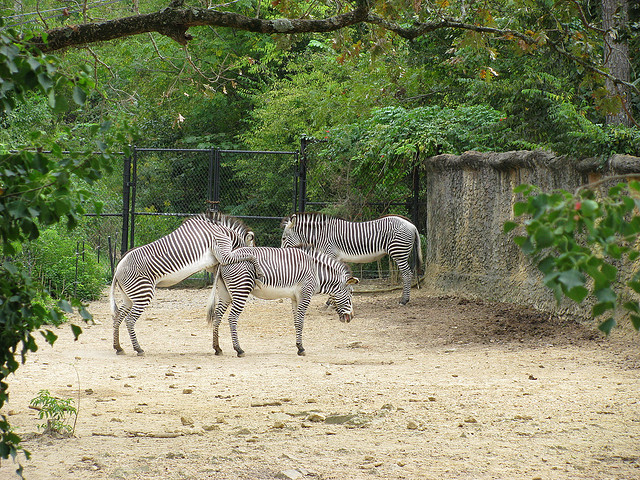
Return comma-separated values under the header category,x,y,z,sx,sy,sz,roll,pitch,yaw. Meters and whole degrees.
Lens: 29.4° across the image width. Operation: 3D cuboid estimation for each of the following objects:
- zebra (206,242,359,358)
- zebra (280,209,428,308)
category,x,y,z,sx,sy,sz,roll,pitch,yaw
zebra,-0.508,0.830,16.924,2.195,1.655,0.625,5,-1,-23
zebra,0.500,0.309,21.032,2.499,1.595,0.642,-2,6,8
